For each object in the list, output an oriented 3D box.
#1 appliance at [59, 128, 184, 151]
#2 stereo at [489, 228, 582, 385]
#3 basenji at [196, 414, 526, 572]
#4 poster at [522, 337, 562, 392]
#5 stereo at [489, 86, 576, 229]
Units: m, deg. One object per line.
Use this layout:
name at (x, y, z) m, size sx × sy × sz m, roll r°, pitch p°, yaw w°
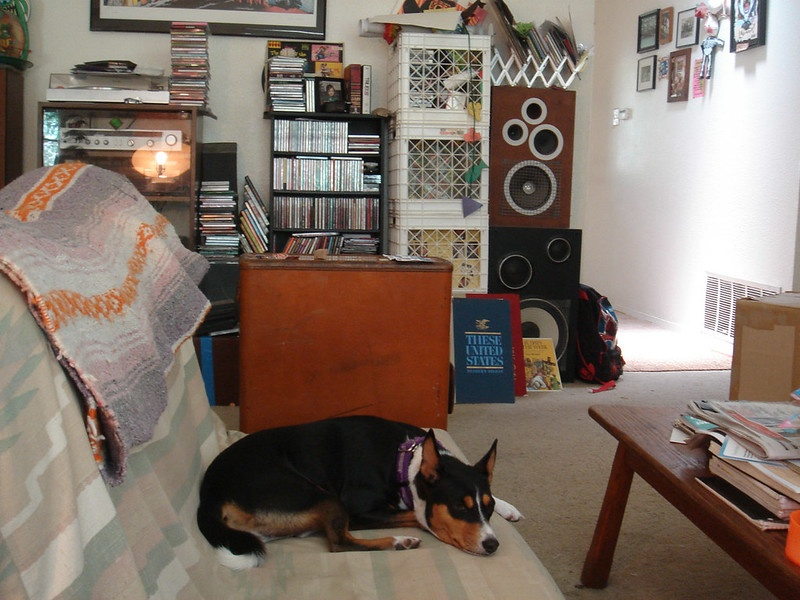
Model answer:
appliance at (-1.629, -0.930, 3.671) m, size 0.691 × 0.126 × 0.077 m, roll 2°, pitch 11°, yaw -3°
stereo at (0.791, -0.001, 4.059) m, size 0.664 × 0.981 × 0.612 m, roll -2°, pitch 7°, yaw -16°
basenji at (-0.094, 0.466, 1.653) m, size 0.818 × 0.298 × 0.520 m, roll 4°, pitch 9°, yaw -18°
poster at (0.842, 0.397, 3.765) m, size 0.343 × 0.396 × 0.020 m, roll 0°, pitch -25°, yaw -11°
stereo at (0.777, -0.860, 3.989) m, size 0.573 × 0.834 × 0.403 m, roll 3°, pitch 11°, yaw -9°
